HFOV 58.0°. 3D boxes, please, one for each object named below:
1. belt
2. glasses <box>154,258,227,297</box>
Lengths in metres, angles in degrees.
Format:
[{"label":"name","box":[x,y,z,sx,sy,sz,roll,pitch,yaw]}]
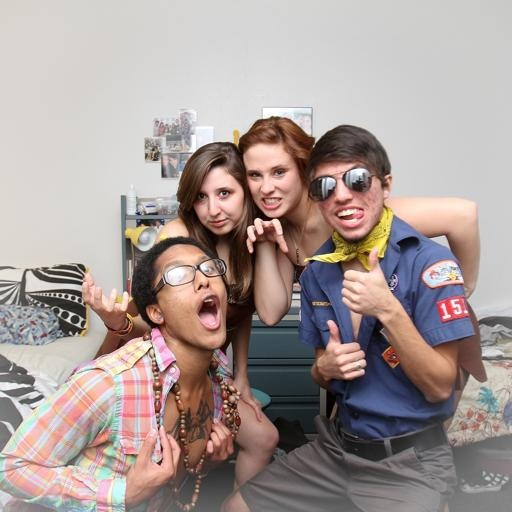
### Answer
[{"label":"belt","box":[0.373,0.503,1.247,0.191,0.050,0.134,-15,-9,-5]},{"label":"glasses","box":[-0.159,0.041,1.122,0.112,0.031,0.111,-6,-15,-46]}]
